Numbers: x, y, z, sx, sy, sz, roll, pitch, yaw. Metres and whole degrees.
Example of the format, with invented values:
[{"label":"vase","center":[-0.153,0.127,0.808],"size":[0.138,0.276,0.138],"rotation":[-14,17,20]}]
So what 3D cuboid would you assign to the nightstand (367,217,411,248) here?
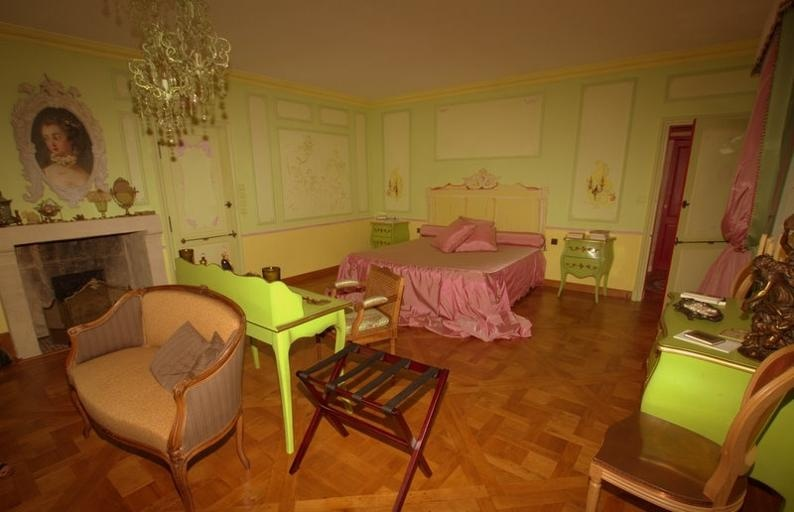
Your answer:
[{"label":"nightstand","center":[-0.201,-0.439,9.897],"size":[0.648,0.847,0.633],"rotation":[2,4,33]}]

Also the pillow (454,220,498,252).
[{"label":"pillow","center":[1.297,-0.270,8.001],"size":[0.489,0.196,0.700],"rotation":[-1,28,21]}]

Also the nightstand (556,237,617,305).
[{"label":"nightstand","center":[3.014,0.134,7.973],"size":[0.762,1.095,0.568],"rotation":[6,14,24]}]

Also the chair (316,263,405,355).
[{"label":"chair","center":[-0.513,0.612,6.372],"size":[1.109,1.451,1.143],"rotation":[-2,6,-33]}]

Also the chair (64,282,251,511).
[{"label":"chair","center":[-2.354,1.453,4.945],"size":[1.765,1.485,1.096],"rotation":[14,17,28]}]

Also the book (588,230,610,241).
[{"label":"book","center":[3.126,-0.284,7.783],"size":[0.201,0.121,0.260],"rotation":[6,10,38]}]

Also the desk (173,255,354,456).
[{"label":"desk","center":[-1.421,1.126,5.206],"size":[1.713,1.908,1.057],"rotation":[11,20,36]}]

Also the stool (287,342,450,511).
[{"label":"stool","center":[-0.286,1.579,5.314],"size":[1.562,1.378,1.784],"rotation":[0,11,-6]}]

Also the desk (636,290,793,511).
[{"label":"desk","center":[2.903,1.144,4.752],"size":[1.320,1.072,2.208],"rotation":[6,16,24]}]

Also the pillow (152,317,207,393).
[{"label":"pillow","center":[-2.176,1.006,4.949],"size":[0.194,0.566,0.562],"rotation":[40,1,-42]}]

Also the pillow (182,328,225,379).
[{"label":"pillow","center":[-1.875,0.942,4.798],"size":[0.345,0.377,0.128],"rotation":[18,-21,37]}]
